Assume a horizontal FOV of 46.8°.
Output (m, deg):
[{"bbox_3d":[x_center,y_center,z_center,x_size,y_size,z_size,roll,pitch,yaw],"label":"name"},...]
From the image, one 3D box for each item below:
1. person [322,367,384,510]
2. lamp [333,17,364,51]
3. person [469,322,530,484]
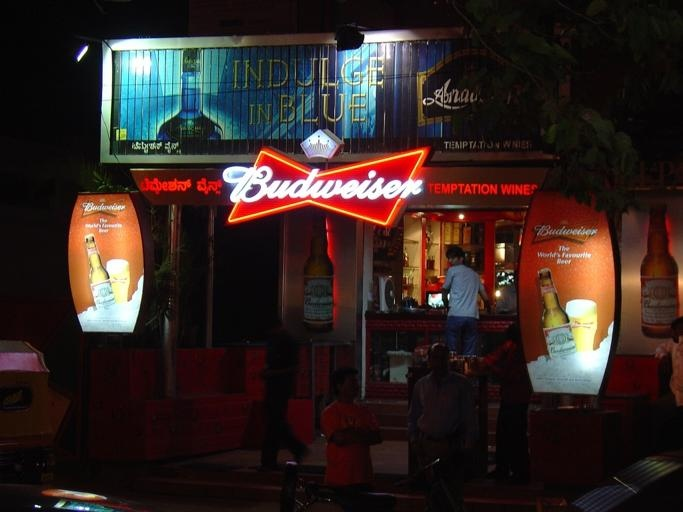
[{"bbox_3d":[0.094,1.693,7.712,0.584,1.092,0.968,1,3,-2],"label":"person"},{"bbox_3d":[0.134,-3.808,13.638,0.488,0.401,0.406,1,3,1],"label":"lamp"},{"bbox_3d":[2.090,1.924,10.120,0.668,1.844,0.638,2,3,17],"label":"person"}]
